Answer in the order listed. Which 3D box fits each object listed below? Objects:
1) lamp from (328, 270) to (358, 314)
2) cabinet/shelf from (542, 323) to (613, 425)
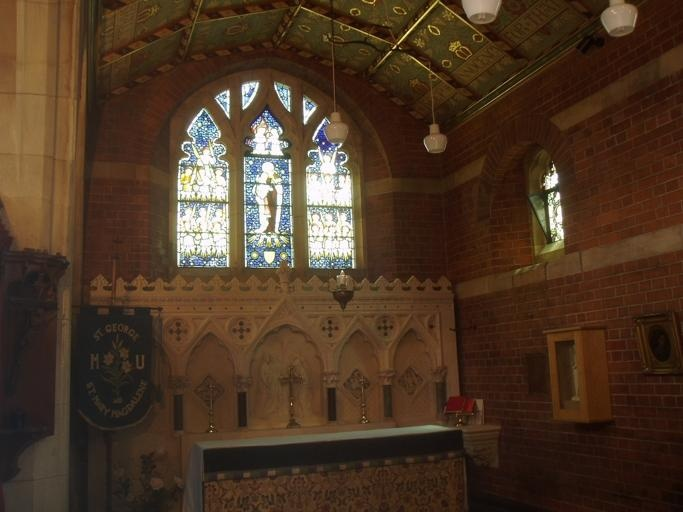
[{"bbox_3d":[0.037,0.532,11.525,0.552,0.769,0.561,0,-12,4],"label":"lamp"},{"bbox_3d":[3.202,1.570,9.722,0.679,1.689,1.103,7,-16,-18],"label":"cabinet/shelf"}]
